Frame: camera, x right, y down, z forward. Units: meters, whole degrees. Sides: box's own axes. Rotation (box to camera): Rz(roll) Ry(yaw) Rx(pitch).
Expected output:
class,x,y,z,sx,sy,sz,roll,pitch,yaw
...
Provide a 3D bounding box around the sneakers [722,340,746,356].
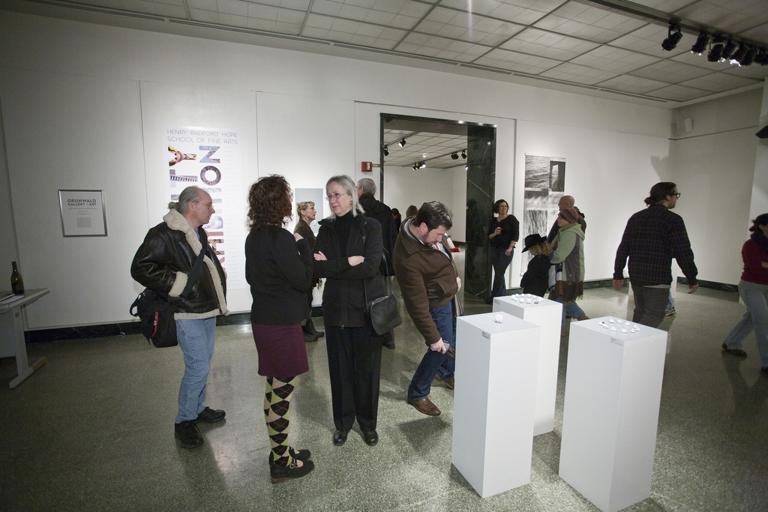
class,x,y,z,sx,sy,sz,roll,pitch,yaw
sneakers,5.021,1.353,7.076,0.135,0.157,0.362,-6,3,-26

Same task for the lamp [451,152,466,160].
class,x,y,z,sx,sy,sz,roll,pitch,yaw
lamp,2.353,-3.211,15.403,0.434,0.250,1.796,0,11,8

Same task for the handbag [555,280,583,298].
class,x,y,z,sx,sy,sz,roll,pitch,yaw
handbag,2.562,0.470,6.783,0.267,0.271,0.098,7,-2,0

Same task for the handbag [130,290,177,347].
class,x,y,z,sx,sy,sz,roll,pitch,yaw
handbag,-2.464,0.650,5.203,0.473,0.586,0.225,4,12,27

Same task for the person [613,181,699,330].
class,x,y,z,sx,sy,sz,roll,pitch,yaw
person,3.535,-0.009,6.371,0.979,1.868,0.628,5,12,32

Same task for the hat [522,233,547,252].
class,x,y,z,sx,sy,sz,roll,pitch,yaw
hat,2.269,-0.193,7.380,0.309,0.133,0.350,-30,-2,-16

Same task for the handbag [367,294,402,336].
class,x,y,z,sx,sy,sz,roll,pitch,yaw
handbag,0.002,0.638,5.225,0.190,0.396,0.416,-1,11,43
